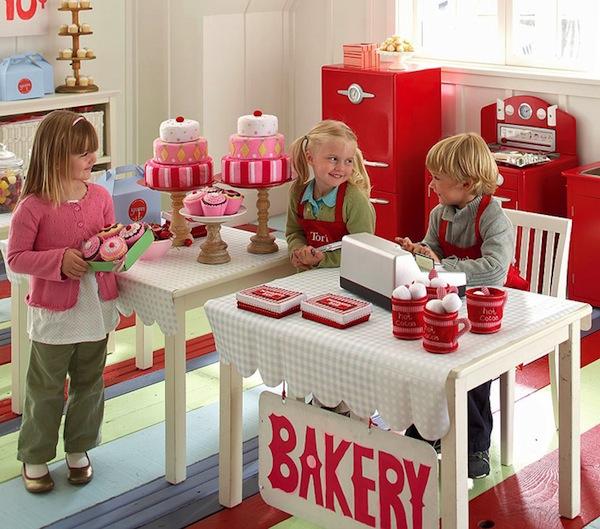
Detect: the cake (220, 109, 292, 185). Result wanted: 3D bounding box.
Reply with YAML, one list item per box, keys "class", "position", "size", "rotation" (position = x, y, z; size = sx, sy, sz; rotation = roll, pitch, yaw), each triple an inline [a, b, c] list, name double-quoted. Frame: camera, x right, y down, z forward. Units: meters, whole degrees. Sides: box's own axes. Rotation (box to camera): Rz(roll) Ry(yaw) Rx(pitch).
- class: "cake"
  position: [-0.149, -0.414, 1.924]
  size: [0.256, 0.270, 0.260]
  rotation: [0, 11, -2]

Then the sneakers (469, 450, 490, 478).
- class: "sneakers"
  position: [0.608, 0.678, 1.829]
  size: [0.047, 0.059, 0.141]
  rotation: [-4, -8, 21]

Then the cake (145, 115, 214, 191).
- class: "cake"
  position: [-0.438, -0.418, 1.986]
  size: [0.267, 0.230, 0.264]
  rotation: [-3, 12, -13]

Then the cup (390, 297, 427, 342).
- class: "cup"
  position: [0.228, 0.116, 1.192]
  size: [0.082, 0.092, 0.087]
  rotation: [0, 6, 0]

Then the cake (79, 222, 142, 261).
- class: "cake"
  position: [-0.569, -0.075, 1.637]
  size: [0.137, 0.046, 0.126]
  rotation: [-2, 35, 38]

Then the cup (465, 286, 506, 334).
- class: "cup"
  position: [0.400, 0.095, 1.235]
  size: [0.107, 0.101, 0.093]
  rotation: [5, 11, 33]

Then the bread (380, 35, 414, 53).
- class: "bread"
  position: [0.712, -1.619, 4.025]
  size: [0.181, 0.076, 0.180]
  rotation: [-1, 15, -3]

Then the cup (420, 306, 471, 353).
- class: "cup"
  position: [0.289, 0.127, 1.125]
  size: [0.101, 0.097, 0.071]
  rotation: [8, 13, 39]

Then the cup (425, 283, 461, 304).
- class: "cup"
  position: [0.326, 0.058, 1.209]
  size: [0.048, 0.037, 0.054]
  rotation: [-1, 5, -8]

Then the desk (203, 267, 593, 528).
- class: "desk"
  position: [0.277, 0.422, 1.509]
  size: [0.751, 0.685, 0.731]
  rotation: [-13, 17, -43]
